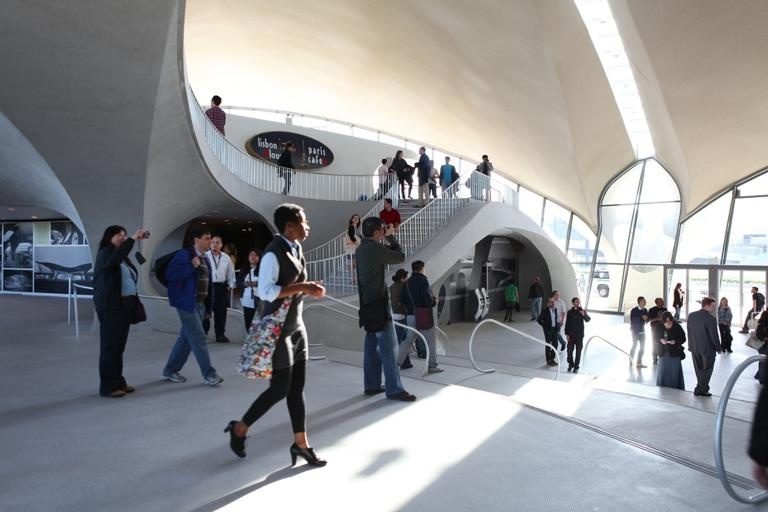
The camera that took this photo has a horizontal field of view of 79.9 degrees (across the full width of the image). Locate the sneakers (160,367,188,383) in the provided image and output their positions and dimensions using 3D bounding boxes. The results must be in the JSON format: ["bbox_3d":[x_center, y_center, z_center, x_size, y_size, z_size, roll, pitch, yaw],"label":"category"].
[{"bbox_3d":[-3.370,1.927,7.479,0.423,0.206,0.172,12,-2,-4],"label":"sneakers"}]

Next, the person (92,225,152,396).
[{"bbox_3d":[-3.897,0.810,6.792,0.602,2.502,0.695,-3,7,-42],"label":"person"}]

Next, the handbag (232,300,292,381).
[{"bbox_3d":[-1.305,0.899,5.061,0.546,0.874,0.228,1,5,-3],"label":"handbag"}]

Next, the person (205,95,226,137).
[{"bbox_3d":[-5.869,-4.640,16.159,0.550,1.863,0.521,-4,18,-34],"label":"person"}]

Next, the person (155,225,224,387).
[{"bbox_3d":[-3.074,0.802,7.292,0.915,2.498,0.904,-1,5,-23],"label":"person"}]

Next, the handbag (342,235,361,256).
[{"bbox_3d":[-0.866,-0.299,12.427,0.741,0.565,0.414,-2,2,29],"label":"handbag"}]

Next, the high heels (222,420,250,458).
[{"bbox_3d":[-1.680,2.113,5.342,0.224,0.504,0.207,-7,11,7],"label":"high heels"}]

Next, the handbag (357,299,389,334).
[{"bbox_3d":[-0.139,0.977,6.770,0.346,0.504,0.500,2,-22,0],"label":"handbag"}]

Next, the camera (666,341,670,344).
[{"bbox_3d":[6.726,2.042,10.874,0.079,0.041,0.135,1,2,13],"label":"camera"}]

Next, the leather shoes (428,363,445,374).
[{"bbox_3d":[1.026,2.161,8.832,0.343,0.143,0.114,0,2,-42],"label":"leather shoes"}]

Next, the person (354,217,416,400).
[{"bbox_3d":[-0.034,0.762,6.799,0.831,2.670,0.646,2,5,9],"label":"person"}]

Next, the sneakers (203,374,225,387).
[{"bbox_3d":[-2.675,1.962,7.259,0.326,0.141,0.134,-4,-8,28],"label":"sneakers"}]

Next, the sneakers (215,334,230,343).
[{"bbox_3d":[-3.647,1.901,10.465,0.269,0.124,0.145,-3,-4,26],"label":"sneakers"}]

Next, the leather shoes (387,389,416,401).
[{"bbox_3d":[0.267,2.042,6.778,0.435,0.197,0.164,0,-3,4],"label":"leather shoes"}]

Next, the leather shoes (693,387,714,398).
[{"bbox_3d":[7.422,3.158,10.723,0.581,0.274,0.192,2,-1,-28],"label":"leather shoes"}]
